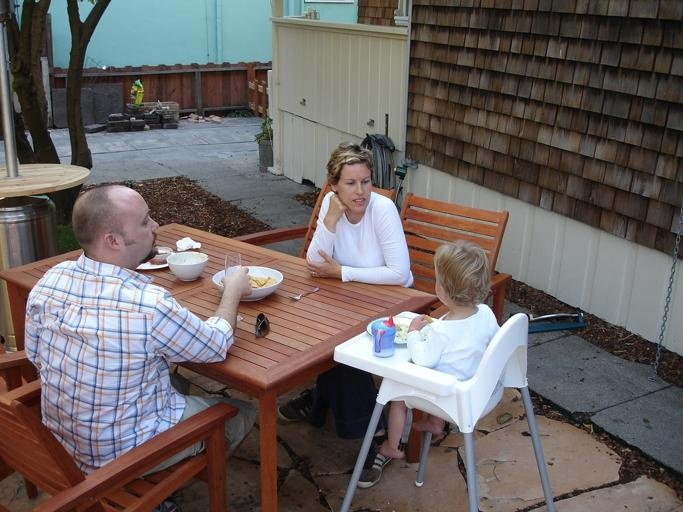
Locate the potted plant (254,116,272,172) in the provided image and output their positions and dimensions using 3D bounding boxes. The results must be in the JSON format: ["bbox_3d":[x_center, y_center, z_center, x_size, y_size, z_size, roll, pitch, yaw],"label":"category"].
[{"bbox_3d":[-1.441,-2.165,9.276,0.294,0.932,1.071,-2,20,-9],"label":"potted plant"}]

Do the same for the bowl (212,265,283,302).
[{"bbox_3d":[-0.524,0.163,2.728,0.393,0.120,0.392,5,16,-1],"label":"bowl"}]

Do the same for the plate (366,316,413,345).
[{"bbox_3d":[0.260,0.331,2.264,0.137,0.025,0.143,9,27,27],"label":"plate"}]

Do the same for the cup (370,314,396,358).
[{"bbox_3d":[0.184,0.338,2.043,0.093,0.170,0.164,3,18,13],"label":"cup"}]

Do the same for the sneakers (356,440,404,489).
[{"bbox_3d":[0.257,1.209,2.874,0.125,0.157,0.385,4,15,35],"label":"sneakers"}]

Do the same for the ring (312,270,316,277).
[{"bbox_3d":[-0.164,0.108,2.980,0.009,0.024,0.030,-36,-5,-18],"label":"ring"}]

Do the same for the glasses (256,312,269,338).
[{"bbox_3d":[-0.380,0.330,2.330,0.058,0.046,0.109,3,57,-10],"label":"glasses"}]

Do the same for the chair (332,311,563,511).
[{"bbox_3d":[0.540,0.564,2.439,0.954,1.224,0.773,14,20,36],"label":"chair"}]

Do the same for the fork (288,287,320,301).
[{"bbox_3d":[-0.197,0.211,2.755,0.056,0.049,0.264,19,20,28],"label":"fork"}]

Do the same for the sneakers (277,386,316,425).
[{"bbox_3d":[-0.289,1.030,3.330,0.368,0.171,0.128,-2,14,-21],"label":"sneakers"}]

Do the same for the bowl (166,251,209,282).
[{"bbox_3d":[-0.924,0.101,2.936,0.192,0.116,0.201,-1,22,0],"label":"bowl"}]
